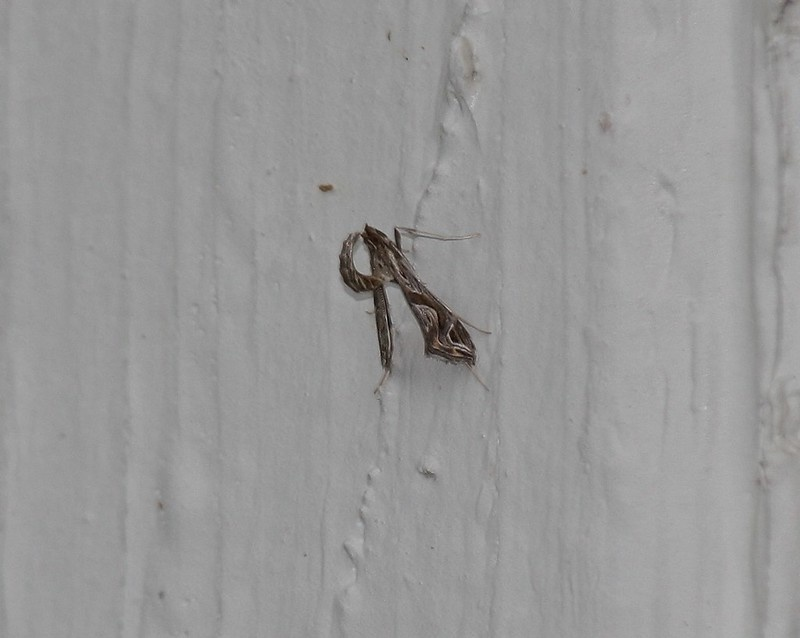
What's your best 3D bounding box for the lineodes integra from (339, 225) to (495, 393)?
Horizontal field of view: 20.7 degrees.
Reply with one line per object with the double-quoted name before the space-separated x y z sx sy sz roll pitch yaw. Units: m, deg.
"lineodes integra" 0.028 -0.039 4.470 0.283 0.060 0.332 -12 84 0
